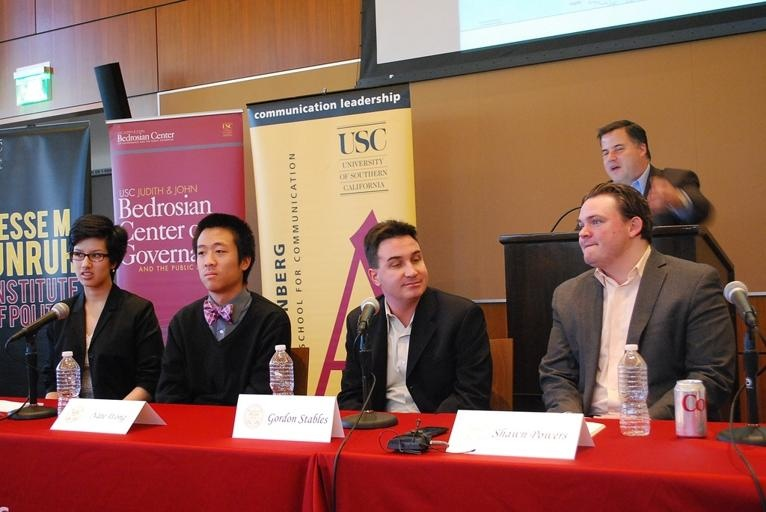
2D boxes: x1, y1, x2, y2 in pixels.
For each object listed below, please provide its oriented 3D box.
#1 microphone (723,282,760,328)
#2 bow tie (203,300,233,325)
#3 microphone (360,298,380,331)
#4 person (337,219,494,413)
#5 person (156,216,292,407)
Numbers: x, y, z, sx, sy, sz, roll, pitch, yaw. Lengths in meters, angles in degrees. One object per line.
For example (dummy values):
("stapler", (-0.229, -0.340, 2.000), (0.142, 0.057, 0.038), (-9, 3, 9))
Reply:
("microphone", (1.431, 0.175, 2.795), (0.094, 0.091, 0.253), (-17, 25, 7))
("bow tie", (-0.940, 0.320, 3.885), (0.169, 0.136, 0.058), (1, 2, 21))
("microphone", (-0.070, 0.263, 3.082), (0.080, 0.137, 0.185), (0, 1, 2))
("person", (0.157, 0.315, 3.598), (0.817, 1.011, 0.473), (0, 2, 9))
("person", (-0.904, 0.285, 3.878), (0.736, 1.055, 0.447), (0, 2, -7))
